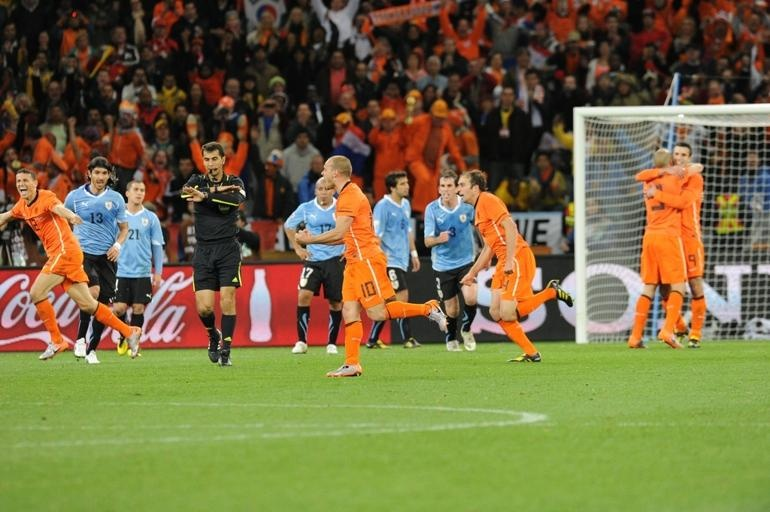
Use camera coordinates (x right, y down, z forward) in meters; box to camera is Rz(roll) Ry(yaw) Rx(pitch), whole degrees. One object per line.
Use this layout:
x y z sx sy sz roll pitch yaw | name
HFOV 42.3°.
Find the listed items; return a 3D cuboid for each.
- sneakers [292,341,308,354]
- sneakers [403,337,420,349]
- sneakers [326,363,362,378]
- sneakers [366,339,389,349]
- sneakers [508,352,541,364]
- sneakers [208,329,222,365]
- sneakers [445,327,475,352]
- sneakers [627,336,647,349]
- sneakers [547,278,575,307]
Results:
-1.346 1.430 15.654 0.226 0.197 0.398 0 7 -6 | sneakers
0.435 1.419 16.371 0.245 0.167 0.227 1 7 -4 | sneakers
-0.534 1.438 12.517 0.466 0.212 0.174 1 0 -5 | sneakers
-0.105 1.454 16.433 0.387 0.191 0.144 1 4 -20 | sneakers
1.950 1.419 13.938 0.481 0.226 0.171 0 -5 8 | sneakers
-2.365 1.222 13.776 0.163 0.502 0.277 0 7 -11 | sneakers
1.137 1.375 15.842 0.567 0.266 0.212 -1 -3 26 | sneakers
3.868 1.327 15.366 0.244 0.212 0.324 4 8 18 | sneakers
2.732 0.580 15.662 0.223 0.476 0.172 -48 -1 -38 | sneakers
